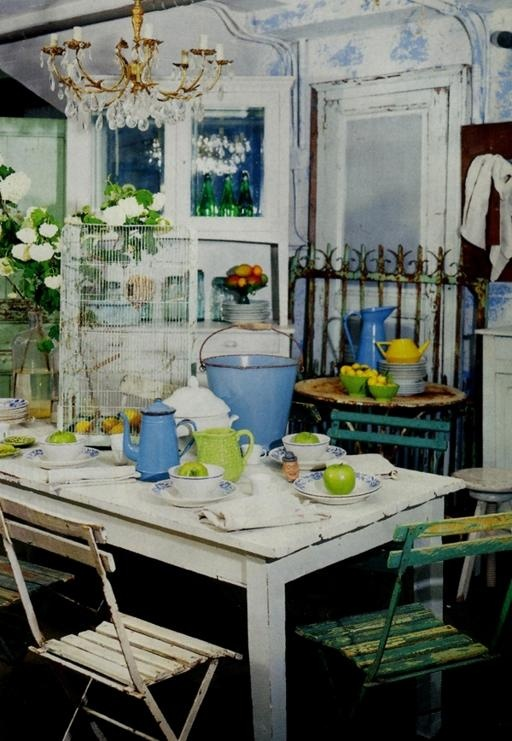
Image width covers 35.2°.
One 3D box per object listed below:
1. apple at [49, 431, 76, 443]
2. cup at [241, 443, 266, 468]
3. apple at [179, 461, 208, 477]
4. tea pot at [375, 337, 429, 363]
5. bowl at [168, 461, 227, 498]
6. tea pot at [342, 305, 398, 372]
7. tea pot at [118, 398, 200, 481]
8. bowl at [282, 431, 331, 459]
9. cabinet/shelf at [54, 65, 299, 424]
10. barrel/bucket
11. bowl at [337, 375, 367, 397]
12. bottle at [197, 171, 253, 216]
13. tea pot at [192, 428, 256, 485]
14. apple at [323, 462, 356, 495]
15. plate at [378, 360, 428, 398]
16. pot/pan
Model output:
[{"bbox_3d":[-0.515,0.179,2.146,0.041,0.022,0.040,2,4,23],"label":"apple"},{"bbox_3d":[-0.006,0.231,2.211,0.067,0.048,0.068,0,-2,0],"label":"cup"},{"bbox_3d":[-0.143,0.225,1.819,0.040,0.038,0.042,-6,-9,-3],"label":"apple"},{"bbox_3d":[0.631,-0.082,3.487,0.190,0.099,0.127,2,7,25],"label":"tea pot"},{"bbox_3d":[-0.128,0.240,1.827,0.098,0.044,0.094,2,1,0],"label":"bowl"},{"bbox_3d":[0.537,-0.156,3.729,0.307,0.343,0.188,7,14,26],"label":"tea pot"},{"bbox_3d":[-0.249,0.175,2.084,0.202,0.189,0.119,0,4,-1],"label":"tea pot"},{"bbox_3d":[0.153,0.193,2.192,0.088,0.045,0.089,0,-3,0],"label":"bowl"},{"bbox_3d":[-0.326,-0.402,3.655,0.942,1.513,0.404,0,-5,-5],"label":"cabinet/shelf"},{"bbox_3d":[-0.023,0.023,2.767,0.335,0.412,0.281,-2,7,-2],"label":"barrel/bucket"},{"bbox_3d":[0.409,0.062,3.376,0.095,0.060,0.092,0,-3,0],"label":"bowl"},{"bbox_3d":[-0.147,-0.865,3.872,0.211,0.183,0.081,0,10,-3],"label":"bottle"},{"bbox_3d":[-0.078,0.216,2.043,0.155,0.131,0.110,-4,8,-4],"label":"tea pot"},{"bbox_3d":[0.191,0.245,1.840,0.070,0.078,0.068,-1,-1,2],"label":"apple"},{"bbox_3d":[0.634,0.034,3.347,0.161,0.098,0.155,-1,-1,1],"label":"plate"},{"bbox_3d":[-0.161,0.102,2.264,0.137,0.114,0.170,-2,-3,26],"label":"pot/pan"}]
